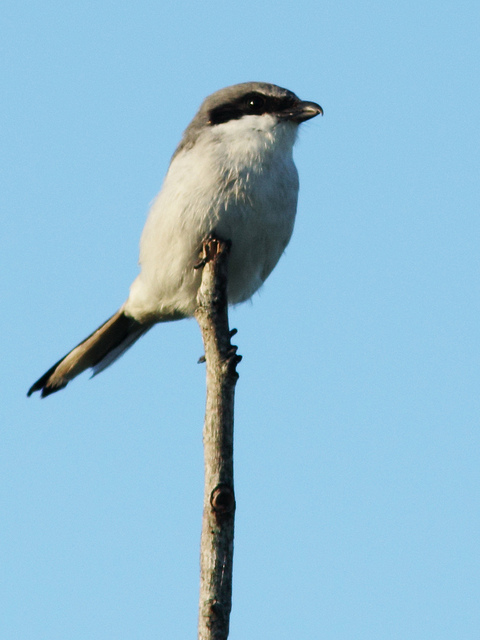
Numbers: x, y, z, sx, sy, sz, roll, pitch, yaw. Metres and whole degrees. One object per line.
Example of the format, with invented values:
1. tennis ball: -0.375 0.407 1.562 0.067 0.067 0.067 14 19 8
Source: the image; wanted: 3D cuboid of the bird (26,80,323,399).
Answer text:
1. bird: -0.185 -0.337 6.456 0.667 0.923 1.748 32 -66 -21
